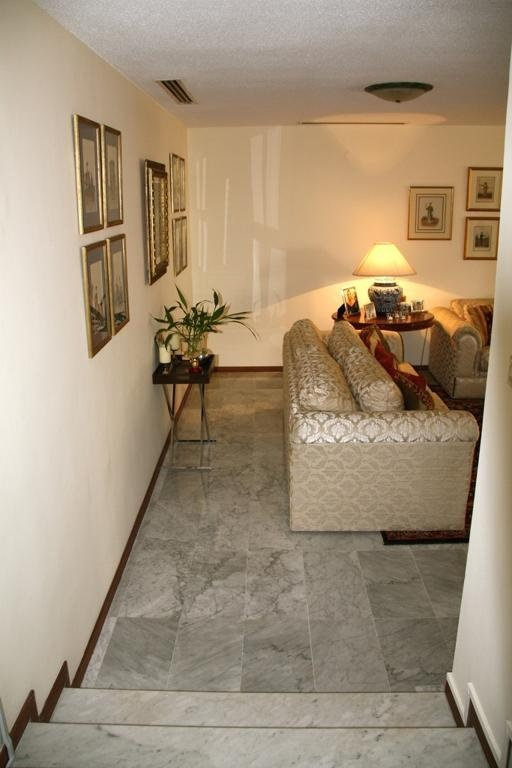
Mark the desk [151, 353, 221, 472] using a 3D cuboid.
[{"bbox_3d":[-0.563,0.248,4.108,0.384,0.838,0.841,-3,11,-4],"label":"desk"}]

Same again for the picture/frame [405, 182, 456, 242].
[{"bbox_3d":[2.031,-2.033,5.705,0.507,0.699,0.047,-1,15,-3],"label":"picture/frame"}]

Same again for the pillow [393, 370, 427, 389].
[{"bbox_3d":[1.006,-0.032,3.204,0.143,0.056,0.154,20,18,-4],"label":"pillow"}]

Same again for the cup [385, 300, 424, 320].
[{"bbox_3d":[1.693,-0.815,5.521,0.250,0.136,0.372,-4,17,-2],"label":"cup"}]

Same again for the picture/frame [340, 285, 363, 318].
[{"bbox_3d":[1.093,-0.945,5.613,0.358,0.451,0.042,-12,4,-43],"label":"picture/frame"}]

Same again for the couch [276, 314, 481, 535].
[{"bbox_3d":[0.742,0.298,3.276,1.061,1.046,1.122,0,12,1],"label":"couch"}]

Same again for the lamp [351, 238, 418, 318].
[{"bbox_3d":[1.390,-1.241,5.652,0.726,0.925,0.765,14,25,41],"label":"lamp"}]

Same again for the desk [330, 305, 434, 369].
[{"bbox_3d":[1.454,-0.661,5.298,0.778,0.553,0.808,-3,31,1],"label":"desk"}]

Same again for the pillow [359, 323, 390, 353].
[{"bbox_3d":[1.006,-0.392,4.169,0.215,0.314,0.088,7,-28,-29],"label":"pillow"}]
